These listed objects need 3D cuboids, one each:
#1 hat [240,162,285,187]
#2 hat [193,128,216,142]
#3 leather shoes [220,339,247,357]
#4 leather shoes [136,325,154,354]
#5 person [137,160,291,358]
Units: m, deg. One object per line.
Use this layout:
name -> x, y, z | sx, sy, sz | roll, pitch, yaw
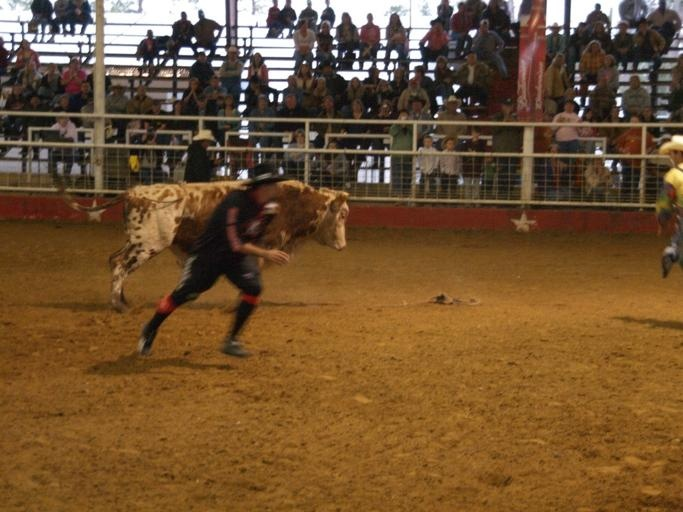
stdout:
hat -> -0.737, -0.803, 8.106 | 0.386, 0.229, 0.314 | -1, 10, -6
hat -> -2.122, -1.849, 12.847 | 0.268, 0.169, 0.607 | -2, 11, -14
leather shoes -> -1.066, 0.915, 8.315 | 0.233, 0.124, 0.143 | 24, 8, -3
leather shoes -> -1.964, 0.835, 8.398 | 0.093, 0.285, 0.191 | 12, 0, -41
person -> -1.167, 0.073, 8.087 | 1.294, 1.923, 0.503 | -1, 10, -6
